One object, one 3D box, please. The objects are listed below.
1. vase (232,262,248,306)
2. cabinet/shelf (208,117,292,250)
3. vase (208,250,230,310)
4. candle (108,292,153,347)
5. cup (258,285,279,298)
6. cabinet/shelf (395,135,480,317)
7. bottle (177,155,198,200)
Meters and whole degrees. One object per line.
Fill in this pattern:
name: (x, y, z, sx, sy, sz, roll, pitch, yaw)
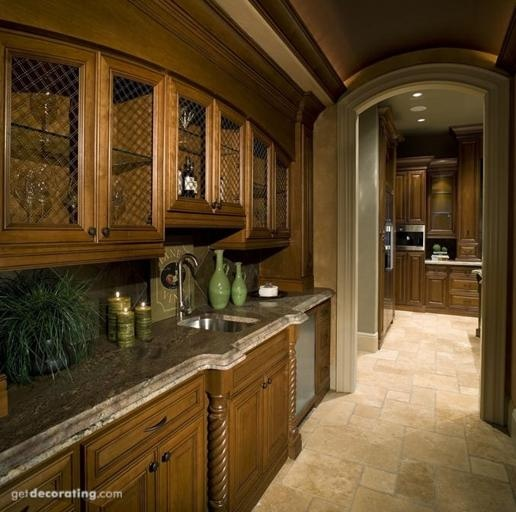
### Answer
vase: (-0.129, 0.186, 2.892, 0.104, 0.282, 0.230, 0, 4, -3)
cabinet/shelf: (-0.120, -0.714, 3.322, 0.387, 0.933, 1.060, 1, 12, -20)
vase: (-0.247, 0.153, 2.691, 0.135, 0.379, 0.186, -1, 4, -6)
candle: (-0.604, 0.282, 1.942, 0.219, 0.265, 0.179, 1, 1, 44)
cup: (0.087, 0.257, 3.126, 0.170, 0.080, 0.162, 0, 5, 0)
cabinet/shelf: (2.818, -0.529, 6.734, 1.276, 2.852, 0.725, 2, 5, 29)
bottle: (-0.352, -0.381, 2.095, 0.014, 0.272, 0.229, -1, 1, 21)
